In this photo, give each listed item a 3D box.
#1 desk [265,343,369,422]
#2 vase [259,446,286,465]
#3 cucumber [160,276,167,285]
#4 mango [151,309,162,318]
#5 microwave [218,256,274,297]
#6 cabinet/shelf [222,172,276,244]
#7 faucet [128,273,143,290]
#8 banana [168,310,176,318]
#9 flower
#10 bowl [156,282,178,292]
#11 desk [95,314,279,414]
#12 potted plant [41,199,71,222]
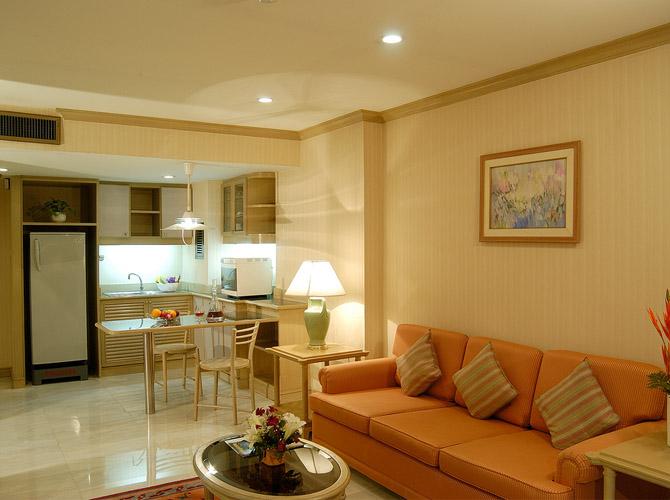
[{"bbox_3d":[-0.173,1.152,5.169,0.812,0.646,0.816,-2,4,-33],"label":"desk"},{"bbox_3d":[-0.403,1.332,3.251,0.136,0.105,0.131,3,-4,-25],"label":"vase"},{"bbox_3d":[-2.599,0.457,7.649,0.110,0.050,0.127,19,11,-5],"label":"cucumber"},{"bbox_3d":[-1.976,0.707,5.553,0.093,0.097,0.123,13,5,-7],"label":"mango"},{"bbox_3d":[-1.164,0.375,6.671,0.461,0.452,0.650,2,-2,-30],"label":"microwave"},{"bbox_3d":[-1.122,-0.559,6.696,0.334,0.775,0.865,1,-3,-33],"label":"cabinet/shelf"},{"bbox_3d":[-3.029,0.483,7.674,0.232,0.276,0.201,1,2,-20],"label":"faucet"},{"bbox_3d":[-1.780,0.704,5.554,0.055,0.024,0.069,8,12,5],"label":"banana"},{"bbox_3d":[-0.426,1.164,3.357,0.348,0.270,0.370,3,0,38],"label":"flower"},{"bbox_3d":[-2.530,0.567,7.607,0.272,0.136,0.186,1,2,-18],"label":"bowl"},{"bbox_3d":[-1.937,1.245,5.800,2.097,1.029,1.513,2,2,42],"label":"desk"},{"bbox_3d":[-3.875,-0.537,6.987,0.450,0.330,0.268,3,2,42],"label":"potted plant"}]
